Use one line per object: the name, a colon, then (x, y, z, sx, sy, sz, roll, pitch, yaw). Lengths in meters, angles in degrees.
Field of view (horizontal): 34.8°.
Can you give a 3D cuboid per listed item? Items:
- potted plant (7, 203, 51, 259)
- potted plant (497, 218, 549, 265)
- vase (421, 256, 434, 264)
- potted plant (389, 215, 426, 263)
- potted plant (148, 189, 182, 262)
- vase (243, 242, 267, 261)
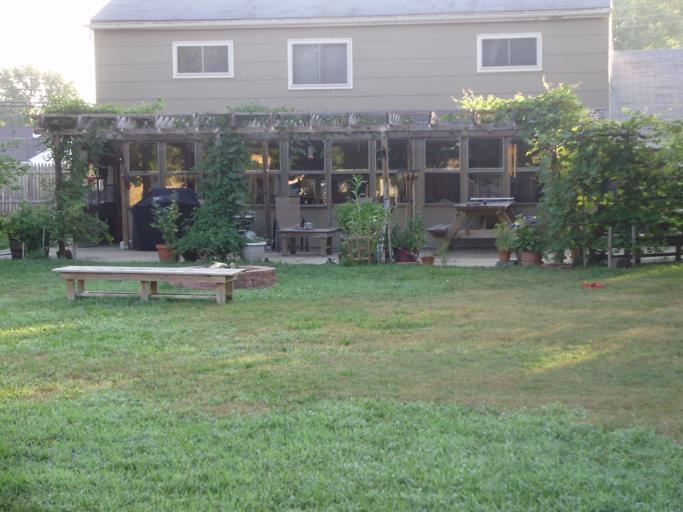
potted plant: (-6.749, -0.550, 23.635, 1.031, 1.312, 1.219, -3, -4, -4)
potted plant: (3.628, -0.328, 22.261, 0.989, 0.989, 0.893, 0, 1, 10)
vase: (1.763, 0.068, 22.566, 0.171, 0.119, 0.176, 0, -6, 3)
potted plant: (1.419, -0.385, 23.103, 0.949, 1.139, 0.823, 0, 5, 9)
potted plant: (-3.877, -0.642, 23.994, 0.633, 1.463, 2.469, 0, 0, -10)
vase: (-1.863, -0.125, 23.414, 0.538, 0.427, 0.522, 0, 1, -23)
